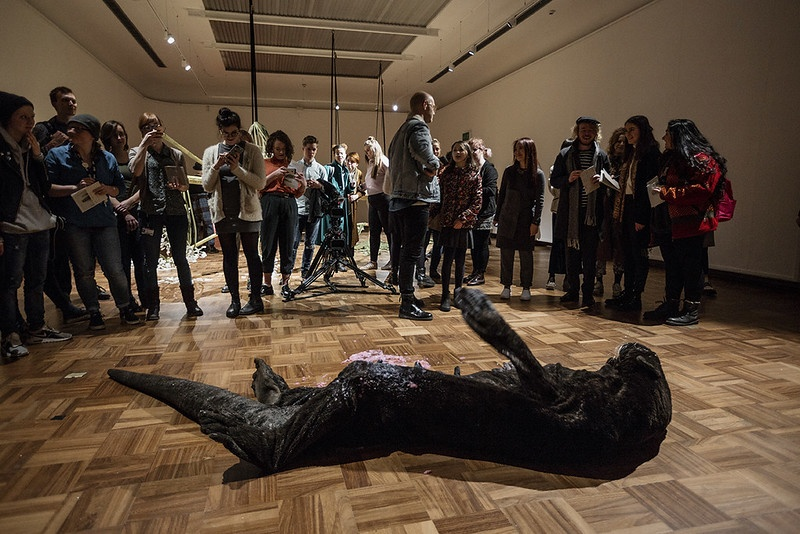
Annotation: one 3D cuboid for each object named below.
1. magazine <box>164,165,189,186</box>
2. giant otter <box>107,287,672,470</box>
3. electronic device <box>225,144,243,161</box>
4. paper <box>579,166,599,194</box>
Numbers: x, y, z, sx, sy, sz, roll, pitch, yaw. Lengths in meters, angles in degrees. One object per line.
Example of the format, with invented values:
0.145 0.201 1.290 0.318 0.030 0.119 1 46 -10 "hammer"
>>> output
-1.836 -0.758 3.871 0.162 0.041 0.164 -1 -51 -3 "magazine"
0.100 0.715 2.272 2.132 0.618 1.093 -4 -32 -2 "giant otter"
-1.395 -0.972 3.971 0.114 0.043 0.149 33 -51 -32 "electronic device"
1.701 -0.781 4.219 0.053 0.217 0.206 -6 -3 -19 "paper"
